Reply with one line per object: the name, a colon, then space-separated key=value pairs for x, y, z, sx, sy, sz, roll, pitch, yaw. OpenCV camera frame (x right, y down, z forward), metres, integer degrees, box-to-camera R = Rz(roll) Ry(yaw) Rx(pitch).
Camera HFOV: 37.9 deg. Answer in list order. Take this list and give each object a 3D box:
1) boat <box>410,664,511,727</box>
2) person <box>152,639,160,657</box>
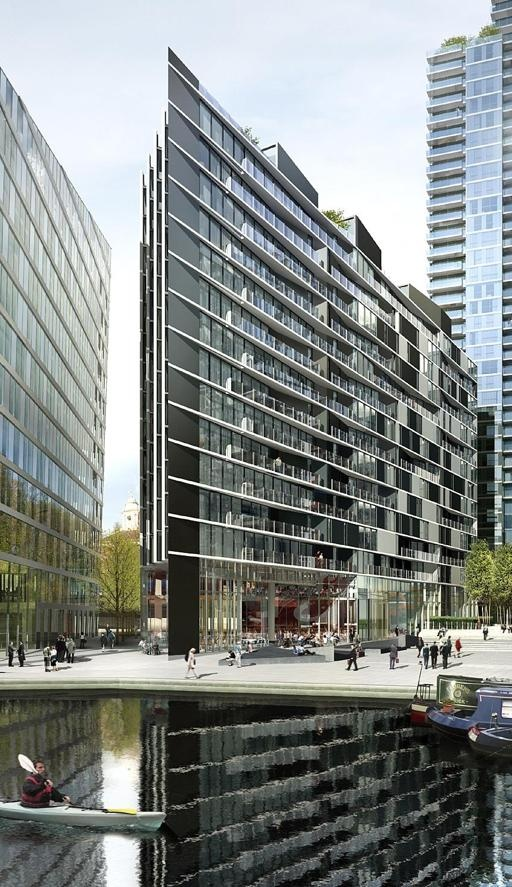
boat: x=5.900 y=7.856 z=23.159 sx=3.572 sy=1.764 sz=2.154 roll=-8 pitch=-15 yaw=34
person: x=-6.313 y=12.717 z=46.775 sx=0.422 sy=0.899 sz=0.854 roll=-1 pitch=-9 yaw=-9
